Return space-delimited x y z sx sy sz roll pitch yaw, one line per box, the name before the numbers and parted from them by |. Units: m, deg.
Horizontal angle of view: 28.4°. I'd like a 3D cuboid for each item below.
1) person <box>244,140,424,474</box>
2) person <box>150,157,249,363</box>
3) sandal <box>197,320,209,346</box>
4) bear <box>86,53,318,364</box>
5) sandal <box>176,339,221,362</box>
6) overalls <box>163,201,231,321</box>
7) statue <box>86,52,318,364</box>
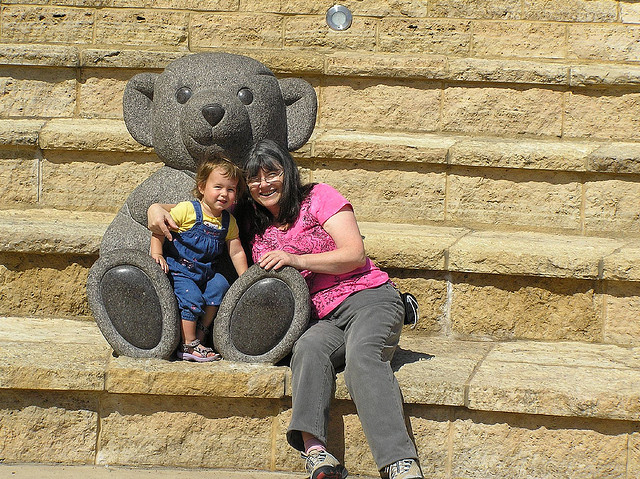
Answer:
person | 0.087 0.395 6.813 0.830 1.525 1.359 -4 30 -11
person | -0.601 0.110 6.925 0.537 1.012 0.539 -12 33 -24
sandal | -0.641 0.526 7.039 0.090 0.111 0.043 14 9 38
bear | -0.670 -0.098 7.179 1.212 1.818 1.211 1 22 -12
sandal | -0.677 0.615 6.951 0.260 0.105 0.096 1 0 -3
overalls | -0.661 0.109 7.003 0.375 0.677 0.422 12 9 -29
statue | -0.655 -0.242 7.191 1.287 1.583 1.107 1 16 1
